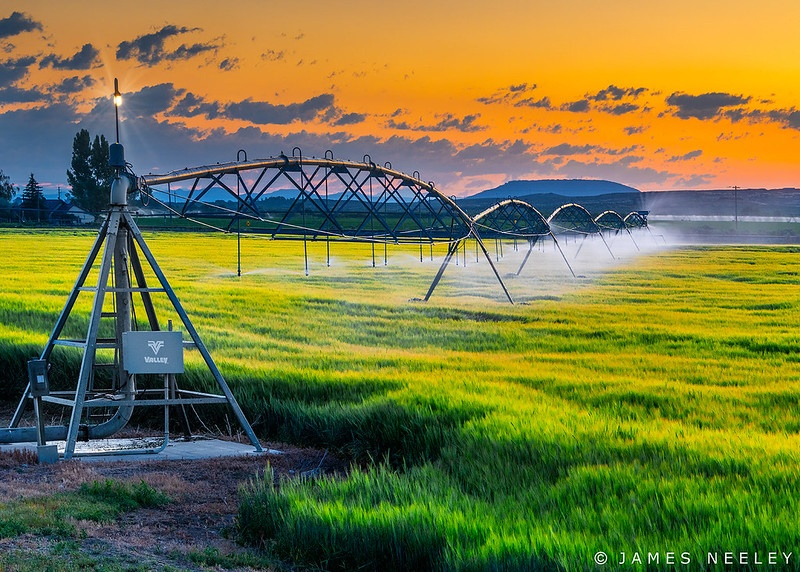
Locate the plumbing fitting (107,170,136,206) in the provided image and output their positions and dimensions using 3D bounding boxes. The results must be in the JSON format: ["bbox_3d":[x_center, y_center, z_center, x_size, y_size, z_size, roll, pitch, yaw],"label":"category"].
[{"bbox_3d":[-5.771,-2.054,14.784,0.518,0.907,1.003,0,-1,-12],"label":"plumbing fitting"}]

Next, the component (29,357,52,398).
[{"bbox_3d":[-7.090,1.818,13.867,0.349,0.746,0.316,0,-1,-30],"label":"component"}]
